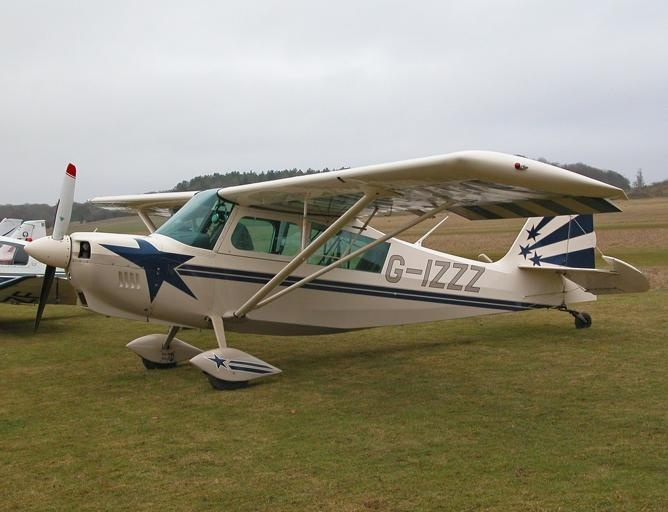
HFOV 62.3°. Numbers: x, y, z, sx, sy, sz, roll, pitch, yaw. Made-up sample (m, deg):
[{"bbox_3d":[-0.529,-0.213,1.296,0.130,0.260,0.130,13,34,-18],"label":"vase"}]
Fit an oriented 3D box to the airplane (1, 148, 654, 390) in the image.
[{"bbox_3d":[0.229,0.051,7.050,5.820,1.250,5.460,1,-2,-27],"label":"airplane"}]
